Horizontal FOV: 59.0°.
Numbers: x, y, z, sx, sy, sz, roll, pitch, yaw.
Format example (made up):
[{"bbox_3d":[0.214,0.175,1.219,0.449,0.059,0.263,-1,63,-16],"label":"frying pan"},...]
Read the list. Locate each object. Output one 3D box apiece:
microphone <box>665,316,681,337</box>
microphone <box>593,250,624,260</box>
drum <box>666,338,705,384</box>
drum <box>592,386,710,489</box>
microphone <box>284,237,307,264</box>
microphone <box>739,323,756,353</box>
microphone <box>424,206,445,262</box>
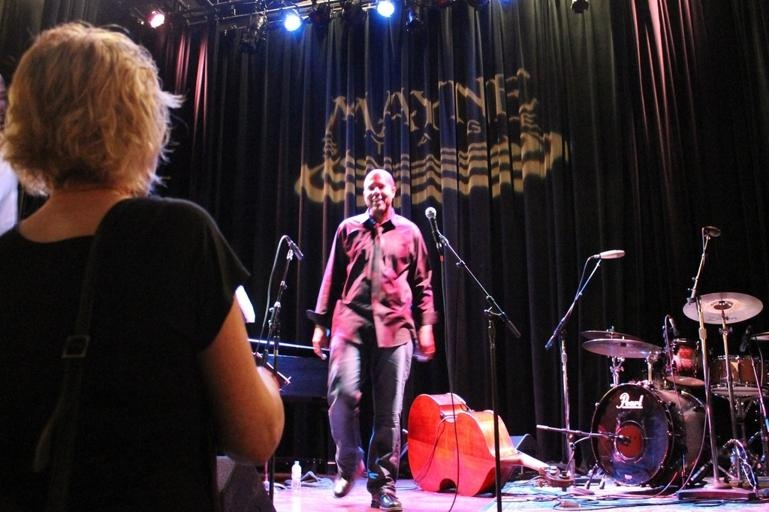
[{"bbox_3d":[2.234,0.552,5.269,0.039,0.142,0.122,-30,4,-26],"label":"microphone"},{"bbox_3d":[1.661,-0.010,5.020,0.179,0.055,0.045,-7,14,-3],"label":"microphone"},{"bbox_3d":[2.154,0.778,4.978,0.289,0.276,0.306,8,-29,9],"label":"drum"},{"bbox_3d":[1.876,1.207,4.877,0.715,0.723,0.775,1,-3,32],"label":"drum"},{"bbox_3d":[-0.713,-0.042,5.405,0.075,0.115,0.341,-1,-32,24],"label":"microphone"},{"bbox_3d":[2.809,0.626,5.278,0.066,0.230,0.084,3,13,3],"label":"microphone"},{"bbox_3d":[0.378,-0.156,5.263,0.099,0.541,0.101,6,-39,-25],"label":"microphone"}]
